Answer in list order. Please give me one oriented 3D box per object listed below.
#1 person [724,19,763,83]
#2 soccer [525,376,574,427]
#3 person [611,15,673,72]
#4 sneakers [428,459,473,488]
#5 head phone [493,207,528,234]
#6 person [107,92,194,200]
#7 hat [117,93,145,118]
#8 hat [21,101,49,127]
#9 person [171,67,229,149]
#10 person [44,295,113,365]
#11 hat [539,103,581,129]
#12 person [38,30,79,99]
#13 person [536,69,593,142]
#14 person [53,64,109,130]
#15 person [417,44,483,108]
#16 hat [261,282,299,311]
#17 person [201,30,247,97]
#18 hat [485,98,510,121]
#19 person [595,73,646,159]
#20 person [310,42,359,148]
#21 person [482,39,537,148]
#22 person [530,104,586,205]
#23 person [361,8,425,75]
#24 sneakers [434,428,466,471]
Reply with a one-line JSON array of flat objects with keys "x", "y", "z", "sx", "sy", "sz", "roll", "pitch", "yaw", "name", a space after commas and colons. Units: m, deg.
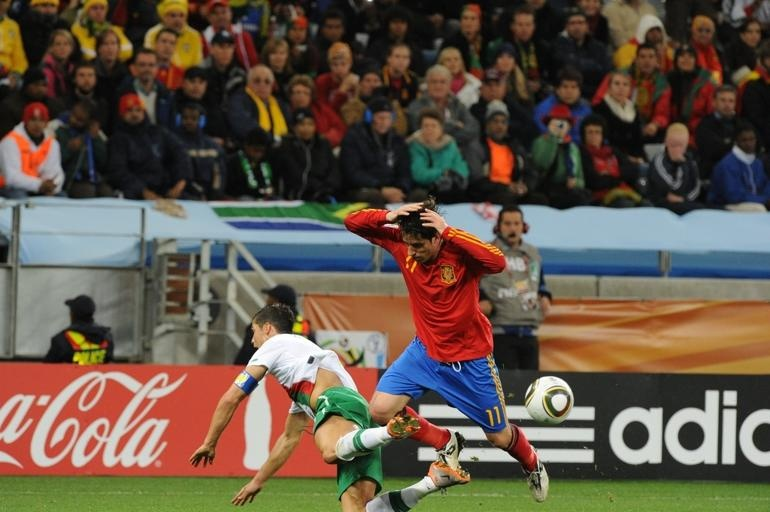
[{"x": 5.269, "y": -2.979, "z": 28.251, "sx": 0.336, "sy": 0.791, "sz": 0.781, "roll": 19, "pitch": -24, "yaw": -3, "name": "person"}, {"x": 2.002, "y": 1.807, "z": 23.424, "sx": 0.552, "sy": 0.556, "sz": 0.549, "roll": -21, "pitch": 21, "yaw": 6, "name": "soccer"}, {"x": 3.663, "y": -3.074, "z": 28.260, "sx": 0.957, "sy": 0.789, "sz": 0.625, "roll": -11, "pitch": 0, "yaw": 20, "name": "person"}, {"x": 0.745, "y": 2.536, "z": 22.520, "sx": 0.397, "sy": 0.198, "sz": 0.292, "roll": 10, "pitch": -5, "yaw": 2, "name": "sneakers"}, {"x": 1.723, "y": -0.466, "z": 26.641, "sx": 0.338, "sy": 0.336, "sz": 0.133, "roll": 0, "pitch": -17, "yaw": 0, "name": "head phone"}, {"x": -3.315, "y": -1.443, "z": 26.557, "sx": 1.020, "sy": 1.442, "sz": 0.837, "roll": -26, "pitch": 15, "yaw": -33, "name": "person"}, {"x": -3.543, "y": -2.066, "z": 26.552, "sx": 0.348, "sy": 0.293, "sz": 0.260, "roll": -19, "pitch": 6, "yaw": 7, "name": "hat"}, {"x": -4.793, "y": -1.926, "z": 26.307, "sx": 0.283, "sy": 0.235, "sz": 0.287, "roll": 1, "pitch": 1, "yaw": -10, "name": "hat"}, {"x": -2.546, "y": -2.047, "z": 26.704, "sx": 0.722, "sy": 1.039, "sz": 0.322, "roll": -1, "pitch": 2, "yaw": -7, "name": "person"}, {"x": -4.086, "y": 0.982, "z": 25.434, "sx": 0.897, "sy": 0.904, "sz": 0.349, "roll": -3, "pitch": -2, "yaw": -10, "name": "person"}, {"x": 2.503, "y": -2.014, "z": 27.599, "sx": 0.350, "sy": 0.199, "sz": 0.361, "roll": 7, "pitch": -24, "yaw": 9, "name": "hat"}, {"x": -4.514, "y": -2.622, "z": 26.502, "sx": 0.599, "sy": 0.843, "sz": 0.330, "roll": 4, "pitch": -3, "yaw": 26, "name": "person"}, {"x": 2.542, "y": -2.101, "z": 27.654, "sx": 0.916, "sy": 0.847, "sz": 0.529, "roll": 4, "pitch": -9, "yaw": -6, "name": "person"}, {"x": -4.205, "y": -2.211, "z": 26.851, "sx": 0.867, "sy": 1.326, "sz": 0.750, "roll": 0, "pitch": -9, "yaw": -11, "name": "person"}, {"x": 0.827, "y": -2.555, "z": 27.672, "sx": 0.730, "sy": 0.316, "sz": 0.597, "roll": 26, "pitch": 36, "yaw": 31, "name": "person"}, {"x": -1.427, "y": 0.509, "z": 25.904, "sx": 0.468, "sy": 0.280, "sz": 0.331, "roll": 29, "pitch": 10, "yaw": 14, "name": "hat"}, {"x": -2.287, "y": -2.656, "z": 27.161, "sx": 0.604, "sy": 0.822, "sz": 0.321, "roll": 0, "pitch": -2, "yaw": -6, "name": "person"}, {"x": 1.577, "y": -2.051, "z": 27.429, "sx": 0.306, "sy": 0.171, "sz": 0.438, "roll": 1, "pitch": 0, "yaw": 4, "name": "hat"}, {"x": 3.471, "y": -1.862, "z": 28.026, "sx": 0.804, "sy": 1.483, "sz": 0.816, "roll": -4, "pitch": -5, "yaw": 38, "name": "person"}, {"x": -0.764, "y": -2.033, "z": 27.485, "sx": 0.613, "sy": 1.884, "sz": 0.595, "roll": 4, "pitch": 21, "yaw": 0, "name": "person"}, {"x": 1.696, "y": -2.117, "z": 27.575, "sx": 0.709, "sy": 1.901, "sz": 0.597, "roll": -2, "pitch": -18, "yaw": 13, "name": "person"}, {"x": 2.458, "y": -1.400, "z": 27.435, "sx": 0.736, "sy": 0.998, "sz": 0.303, "roll": -3, "pitch": -2, "yaw": -18, "name": "person"}, {"x": 0.134, "y": -3.087, "z": 27.500, "sx": 0.710, "sy": 0.984, "sz": 0.307, "roll": 13, "pitch": 5, "yaw": 11, "name": "person"}, {"x": 0.745, "y": 2.304, "z": 22.759, "sx": 0.238, "sy": 0.564, "sz": 0.187, "roll": 32, "pitch": -45, "yaw": -24, "name": "sneakers"}]
